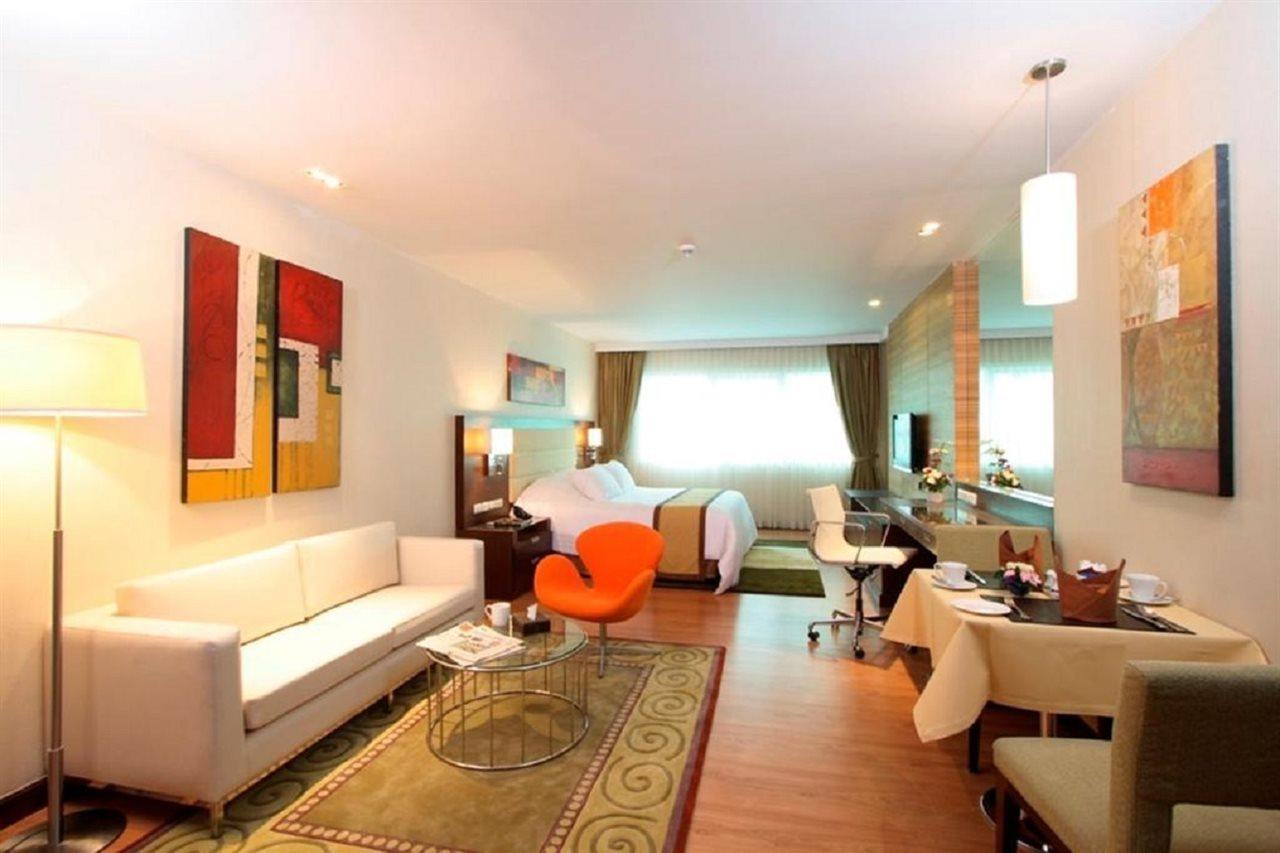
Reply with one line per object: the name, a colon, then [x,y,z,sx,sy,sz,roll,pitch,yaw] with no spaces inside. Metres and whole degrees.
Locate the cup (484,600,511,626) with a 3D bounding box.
cup: [-0.821,1.101,4.975,0.166,0.117,0.106,0,0,3]

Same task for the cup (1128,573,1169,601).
cup: [2.476,0.784,4.153,0.163,0.105,0.118,-3,-7,42]

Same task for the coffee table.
coffee table: [-0.742,1.441,4.870,0.759,0.436,0.754,0,-1,-11]

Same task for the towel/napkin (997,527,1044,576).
towel/napkin: [2.050,0.668,4.597,0.233,0.259,0.253,1,-1,11]

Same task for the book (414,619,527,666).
book: [-0.915,1.200,4.708,0.339,0.037,0.321,5,4,43]

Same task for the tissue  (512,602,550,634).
tissue : [-0.617,1.107,4.951,0.157,0.100,0.158,0,4,-3]

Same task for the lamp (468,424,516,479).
lamp: [-1.273,0.222,7.286,0.337,0.591,0.621,-1,1,7]

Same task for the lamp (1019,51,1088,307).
lamp: [2.048,-1.182,4.309,0.246,0.999,0.598,-3,-2,25]

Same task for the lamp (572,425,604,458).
lamp: [-0.604,0.189,9.996,0.311,0.557,0.580,-1,-1,9]

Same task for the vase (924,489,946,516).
vase: [2.370,0.617,6.826,0.209,0.222,0.212,1,0,17]

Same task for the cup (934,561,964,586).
cup: [1.613,0.770,4.444,0.120,0.100,0.146,1,-1,-30]

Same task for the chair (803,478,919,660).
chair: [1.565,1.054,6.516,0.944,1.425,1.135,-2,-4,23]

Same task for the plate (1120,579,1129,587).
plate: [2.465,0.803,4.346,0.047,0.020,0.095,0,1,27]

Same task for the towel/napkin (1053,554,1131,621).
towel/napkin: [2.130,0.777,4.088,0.296,0.280,0.278,6,-12,-2]

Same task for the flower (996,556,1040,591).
flower: [1.904,0.743,4.262,0.140,0.107,0.159,-1,-4,16]

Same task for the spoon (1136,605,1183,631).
spoon: [2.393,0.892,3.948,0.103,0.096,0.265,-2,-2,-11]

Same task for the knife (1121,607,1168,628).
knife: [2.352,0.894,3.982,0.035,0.032,0.249,-16,0,12]
